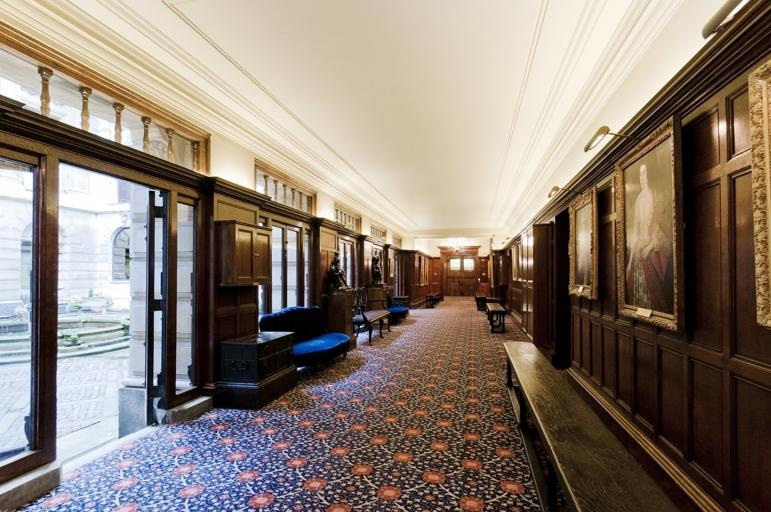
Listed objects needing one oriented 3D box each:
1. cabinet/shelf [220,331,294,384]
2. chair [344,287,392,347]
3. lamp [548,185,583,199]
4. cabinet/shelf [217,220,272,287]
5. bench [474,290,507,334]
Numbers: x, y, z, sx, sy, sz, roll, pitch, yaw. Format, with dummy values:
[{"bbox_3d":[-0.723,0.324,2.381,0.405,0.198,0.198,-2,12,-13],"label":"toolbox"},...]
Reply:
[{"bbox_3d":[-1.747,1.435,6.573,0.589,0.579,1.135,-1,-2,14],"label":"cabinet/shelf"},{"bbox_3d":[-0.384,1.218,10.414,0.636,1.182,1.705,-5,-3,15],"label":"chair"},{"bbox_3d":[2.658,-0.972,6.982,0.299,0.107,0.303,11,-1,-10],"label":"lamp"},{"bbox_3d":[-1.927,-0.007,6.508,0.314,0.844,0.872,-2,-4,17],"label":"cabinet/shelf"},{"bbox_3d":[2.770,1.375,12.376,0.442,0.501,3.341,1,5,7],"label":"bench"}]
